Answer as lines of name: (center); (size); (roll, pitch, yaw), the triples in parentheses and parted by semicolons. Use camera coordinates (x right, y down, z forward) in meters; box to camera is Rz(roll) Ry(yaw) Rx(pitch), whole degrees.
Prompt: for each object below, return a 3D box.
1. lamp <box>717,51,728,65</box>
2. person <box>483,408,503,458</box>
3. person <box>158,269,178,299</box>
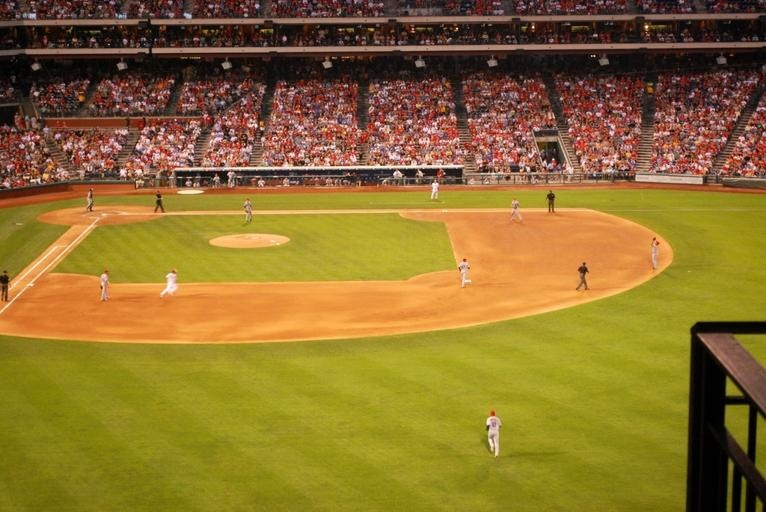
lamp: (35.504, -20.462, 90.374); (1.502, 1.025, 1.623); (2, 27, 18)
person: (4.915, 7.785, 38.365); (0.544, 1.843, 1.378); (-2, 22, 7)
person: (-13.053, 1.773, 52.297); (1.154, 2.114, 0.950); (9, 24, 3)
